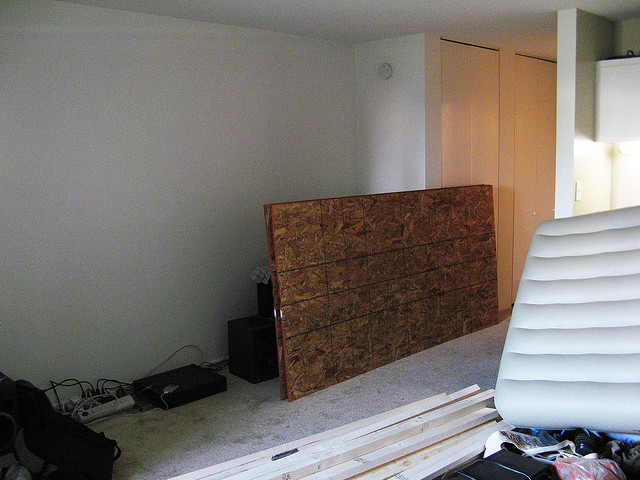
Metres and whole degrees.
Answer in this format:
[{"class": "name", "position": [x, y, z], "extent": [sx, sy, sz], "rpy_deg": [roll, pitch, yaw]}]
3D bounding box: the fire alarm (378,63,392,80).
[{"class": "fire alarm", "position": [0.709, -1.851, 5.457], "extent": [0.050, 0.176, 0.160], "rpy_deg": [-9, 5, -44]}]
